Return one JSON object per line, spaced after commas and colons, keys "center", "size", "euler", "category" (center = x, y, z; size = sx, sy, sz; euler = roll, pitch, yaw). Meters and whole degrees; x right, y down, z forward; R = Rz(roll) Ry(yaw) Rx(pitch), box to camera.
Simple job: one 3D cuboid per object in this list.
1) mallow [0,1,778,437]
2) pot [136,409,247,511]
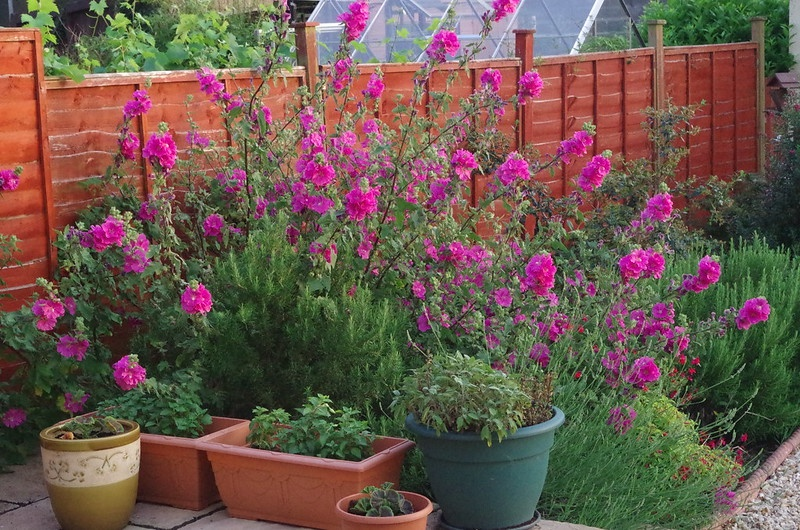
{"center": [-0.345, -0.326, 5.409], "size": [3.186, 2.441, 4.008], "euler": [0, 7, -12], "category": "mallow"}
{"center": [-1.260, 1.114, 3.827], "size": [0.371, 0.321, 0.462], "euler": [-2, -2, 32], "category": "pot"}
